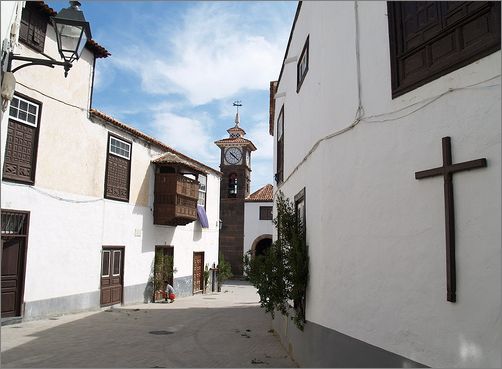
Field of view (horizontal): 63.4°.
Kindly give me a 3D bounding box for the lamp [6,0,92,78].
[{"bbox_3d":[-3.853,-2.816,8.131,1.689,1.517,1.074,-6,-12,45],"label":"lamp"}]
